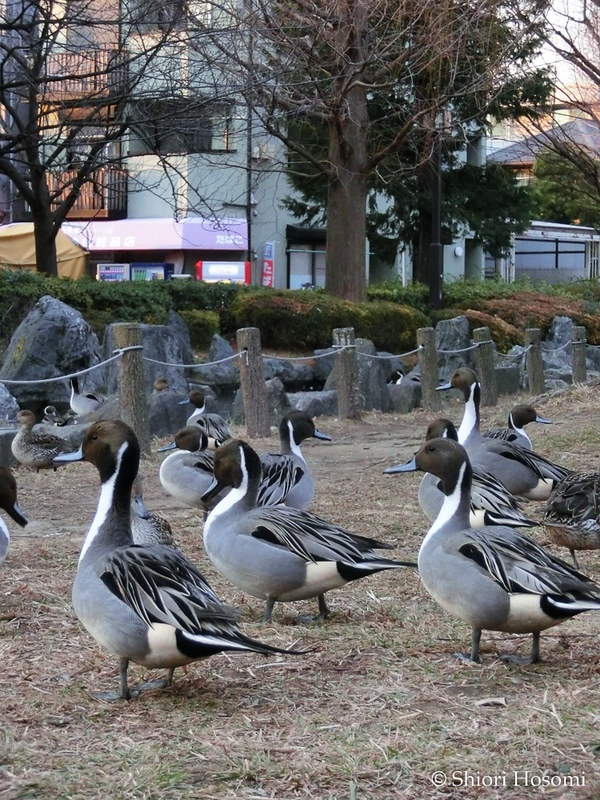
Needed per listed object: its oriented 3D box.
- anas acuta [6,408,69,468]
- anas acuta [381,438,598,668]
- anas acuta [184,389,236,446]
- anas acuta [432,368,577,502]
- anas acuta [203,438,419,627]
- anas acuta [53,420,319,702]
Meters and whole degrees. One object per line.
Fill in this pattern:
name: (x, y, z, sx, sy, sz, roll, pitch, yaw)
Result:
anas acuta: (-2.190, 0.341, 11.318, 0.563, 0.521, 0.359, 2, 9, -22)
anas acuta: (0.820, 0.667, 5.579, 0.510, 0.891, 1.064, -5, 7, -23)
anas acuta: (-0.667, 0.178, 10.397, 0.525, 0.445, 0.276, 9, 20, 20)
anas acuta: (1.238, 0.247, 7.971, 1.019, 0.739, 0.367, 9, 9, -21)
anas acuta: (0.004, 0.600, 6.053, 0.903, 0.740, 0.515, 2, 7, 15)
anas acuta: (-0.462, 0.616, 5.201, 1.146, 0.950, 0.436, 14, 21, 42)
